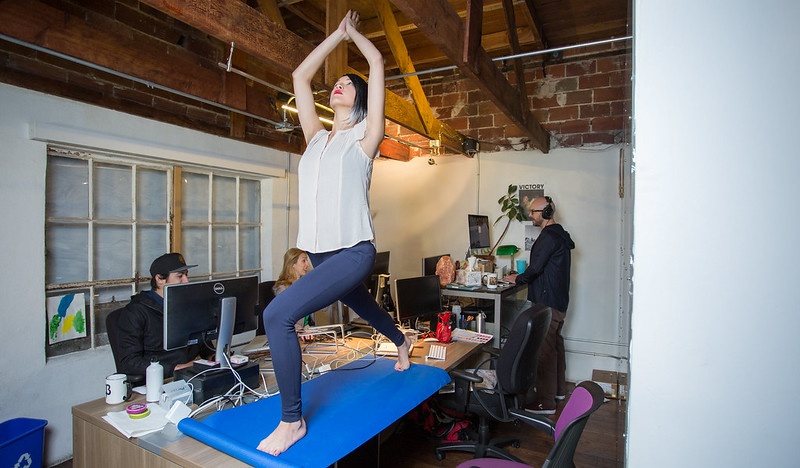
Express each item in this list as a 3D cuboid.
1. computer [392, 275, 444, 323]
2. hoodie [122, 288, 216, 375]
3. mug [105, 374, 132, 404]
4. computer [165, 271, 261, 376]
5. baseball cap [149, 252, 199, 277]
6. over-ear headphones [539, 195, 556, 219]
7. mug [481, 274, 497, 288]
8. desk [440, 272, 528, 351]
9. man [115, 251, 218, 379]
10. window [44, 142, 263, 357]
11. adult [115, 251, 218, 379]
[{"bbox_3d":[0.194,0.678,5.297,0.566,0.372,0.161,-1,-6,-44],"label":"computer"},{"bbox_3d":[-1.844,0.922,4.168,0.750,0.893,0.626,-1,-6,-29],"label":"hoodie"},{"bbox_3d":[-1.892,1.047,3.465,0.218,0.154,0.137,3,-7,-1],"label":"mug"},{"bbox_3d":[-1.333,0.649,3.846,0.247,0.573,0.732,14,12,43],"label":"computer"},{"bbox_3d":[-1.873,0.240,4.243,0.356,0.176,0.206,-10,0,-8],"label":"baseball cap"},{"bbox_3d":[1.714,-0.308,6.024,0.116,0.258,0.285,3,-12,5],"label":"over-ear headphones"},{"bbox_3d":[1.035,0.533,5.945,0.142,0.151,0.363,-3,1,2],"label":"mug"},{"bbox_3d":[0.960,0.969,6.117,0.605,0.647,1.052,0,-2,15],"label":"desk"},{"bbox_3d":[-1.887,0.733,4.310,0.834,1.173,0.757,-1,1,15],"label":"man"},{"bbox_3d":[-2.402,0.126,4.843,0.198,1.651,2.472,-2,-3,33],"label":"window"},{"bbox_3d":[-1.941,0.745,4.329,0.794,1.167,0.743,-2,-3,13],"label":"adult"}]
